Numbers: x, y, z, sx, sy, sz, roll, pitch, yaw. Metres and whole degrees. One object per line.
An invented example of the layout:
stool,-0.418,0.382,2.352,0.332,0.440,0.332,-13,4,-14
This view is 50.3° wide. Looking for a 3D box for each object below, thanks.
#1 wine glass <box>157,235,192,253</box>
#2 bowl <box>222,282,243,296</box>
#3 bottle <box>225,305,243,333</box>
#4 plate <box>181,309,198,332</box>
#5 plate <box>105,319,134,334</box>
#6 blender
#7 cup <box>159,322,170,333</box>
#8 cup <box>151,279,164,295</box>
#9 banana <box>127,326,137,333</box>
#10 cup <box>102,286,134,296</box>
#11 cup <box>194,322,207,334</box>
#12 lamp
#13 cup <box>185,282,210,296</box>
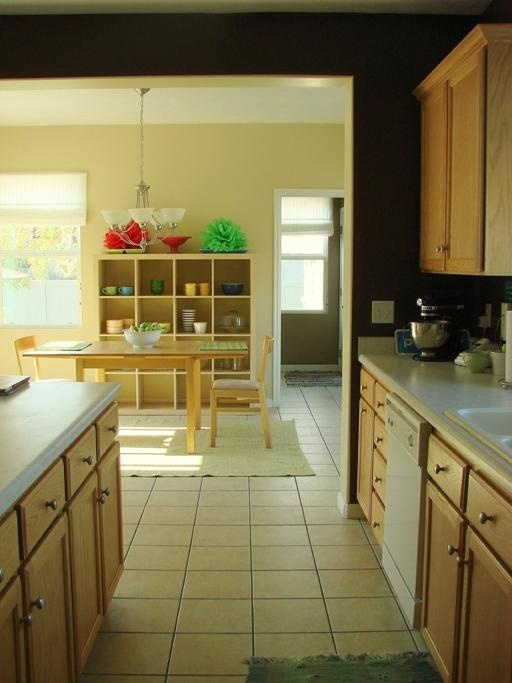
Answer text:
wine glass,-0.760,-0.919,5.102,0.211,0.107,0.208,-1,3,-2
bowl,-0.233,-0.491,5.126,0.142,0.061,0.140,-1,1,0
bottle,-0.188,-0.205,5.234,0.197,0.274,0.196,-1,3,0
plate,-0.606,-0.197,5.257,0.203,0.219,0.194,-1,1,-4
plate,-1.295,-0.150,5.152,0.175,0.099,0.174,2,3,32
blender,0.902,-0.064,2.646,0.194,0.303,0.455,4,7,38
cup,-0.876,-0.129,5.216,0.110,0.081,0.128,0,0,-8
cup,-0.918,-0.516,5.141,0.130,0.137,0.128,0,6,0
banana,-0.987,-0.099,4.329,0.076,0.037,0.075,0,1,2
cup,-1.299,-0.472,5.126,0.197,0.064,0.123,-2,4,-9
cup,-0.535,-0.130,5.219,0.111,0.079,0.096,0,3,5
lamp,-0.881,-1.367,4.535,0.782,1.216,1.690,-2,6,-15
cup,-0.565,-0.502,5.207,0.200,0.094,0.128,-1,8,-4
